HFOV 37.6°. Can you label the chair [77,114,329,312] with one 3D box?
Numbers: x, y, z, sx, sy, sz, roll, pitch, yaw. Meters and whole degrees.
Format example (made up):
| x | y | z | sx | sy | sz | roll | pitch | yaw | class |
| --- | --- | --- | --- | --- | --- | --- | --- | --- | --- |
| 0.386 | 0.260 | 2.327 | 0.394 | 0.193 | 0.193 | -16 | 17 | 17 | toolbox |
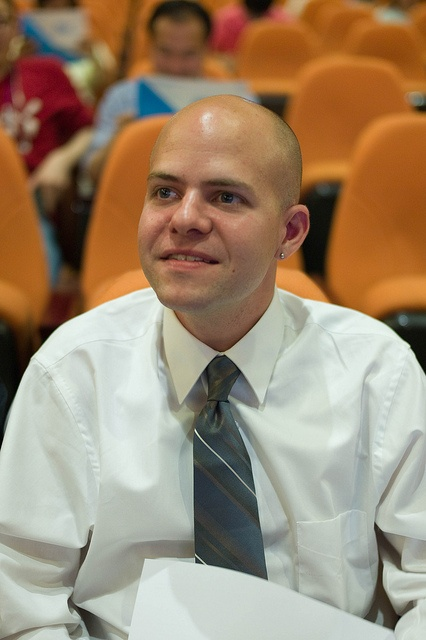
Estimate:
| x | y | z | sx | sy | sz | roll | pitch | yaw | class |
| --- | --- | --- | --- | --- | --- | --- | --- | --- | --- |
| -0.040 | -0.181 | 1.229 | 0.458 | 0.379 | 0.383 | 2 | 85 | -16 | chair |
